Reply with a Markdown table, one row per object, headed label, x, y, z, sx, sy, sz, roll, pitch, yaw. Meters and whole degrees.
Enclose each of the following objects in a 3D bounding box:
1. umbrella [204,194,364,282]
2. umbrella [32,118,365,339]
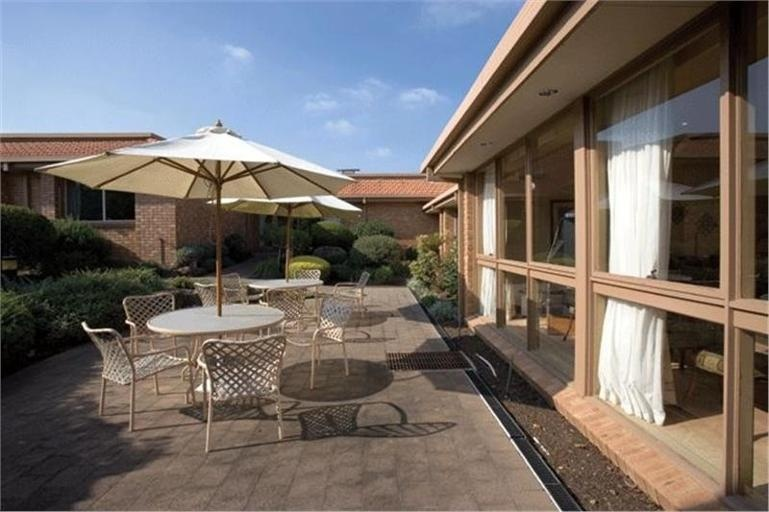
| label | x | y | z | sx | sy | sz | roll | pitch | yaw |
| --- | --- | --- | --- | --- | --- | --- | --- | --- | --- |
| umbrella | -1.898 | -0.631 | 11.041 | 2.307 | 1.375 | 2.248 | 3 | -1 | -10 |
| umbrella | -2.249 | -0.143 | 7.477 | 3.281 | 2.310 | 3.376 | 0 | -2 | 39 |
